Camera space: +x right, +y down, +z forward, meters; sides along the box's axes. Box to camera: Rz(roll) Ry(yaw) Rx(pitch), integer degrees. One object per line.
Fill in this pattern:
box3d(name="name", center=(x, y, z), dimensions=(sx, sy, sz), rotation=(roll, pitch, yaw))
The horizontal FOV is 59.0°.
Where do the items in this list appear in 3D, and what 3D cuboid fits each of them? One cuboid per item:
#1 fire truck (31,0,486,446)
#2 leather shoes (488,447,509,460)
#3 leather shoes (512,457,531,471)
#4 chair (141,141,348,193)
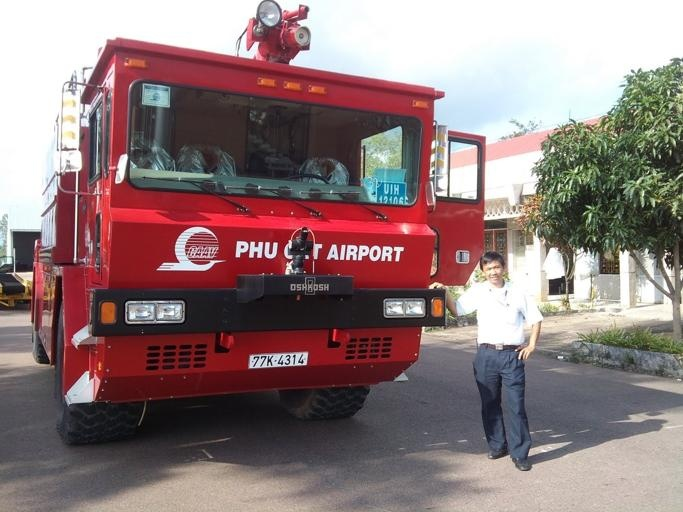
box3d(name="fire truck", center=(-1.370, -0.085, 7.712), dimensions=(3.194, 3.389, 5.464), rotation=(2, -6, -21))
box3d(name="leather shoes", center=(1.540, 1.952, 5.937), dimensions=(0.229, 0.104, 0.082), rotation=(11, -12, -42))
box3d(name="leather shoes", center=(1.676, 1.945, 5.629), dimensions=(0.076, 0.080, 0.202), rotation=(0, -4, -7))
box3d(name="chair", center=(-0.887, -0.802, 5.571), dimensions=(1.993, 0.441, 0.194), rotation=(0, 2, -23))
